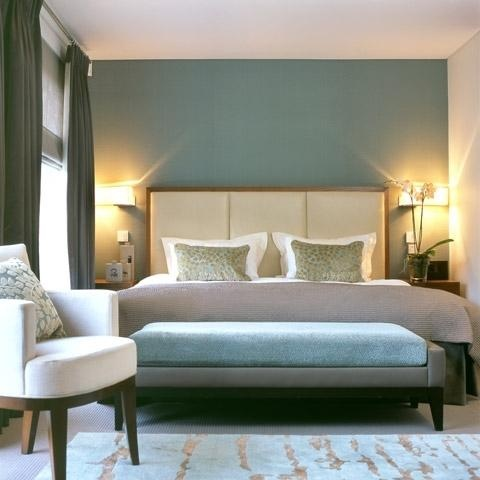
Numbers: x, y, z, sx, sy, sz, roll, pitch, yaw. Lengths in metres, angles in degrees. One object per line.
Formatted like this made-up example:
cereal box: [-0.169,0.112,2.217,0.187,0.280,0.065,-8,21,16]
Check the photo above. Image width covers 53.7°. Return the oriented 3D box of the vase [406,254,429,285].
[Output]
vase: [1.653,0.275,4.438,0.221,0.299,0.233,1,-7,0]
